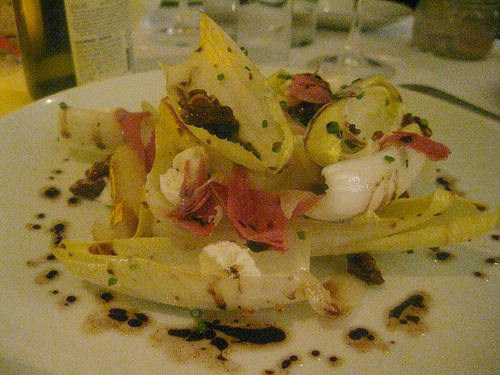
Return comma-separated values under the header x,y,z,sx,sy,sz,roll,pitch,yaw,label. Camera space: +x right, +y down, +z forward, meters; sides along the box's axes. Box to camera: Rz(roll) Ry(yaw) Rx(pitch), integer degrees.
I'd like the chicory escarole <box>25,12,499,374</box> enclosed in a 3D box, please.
x,y,z,sx,sy,sz,roll,pitch,yaw,label
0.090,0.047,1.403,0.937,0.407,0.685,-3,50,0,chicory escarole
